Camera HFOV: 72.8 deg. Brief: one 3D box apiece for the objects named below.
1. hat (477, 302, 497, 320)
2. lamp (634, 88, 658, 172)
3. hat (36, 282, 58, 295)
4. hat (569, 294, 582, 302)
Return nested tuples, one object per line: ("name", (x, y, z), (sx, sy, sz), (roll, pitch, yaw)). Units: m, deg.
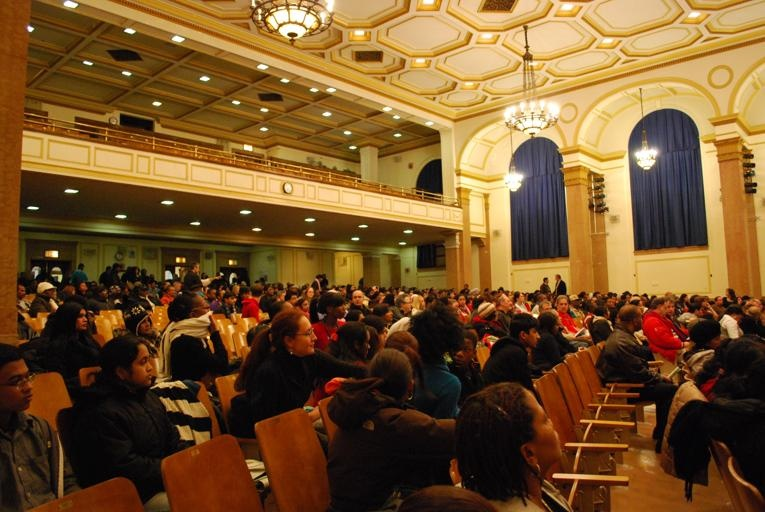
("hat", (1.473, 0.768, 7.294), (0.140, 0.191, 0.236), (33, -23, -9))
("lamp", (8.587, -4.080, 16.976), (0.720, 2.718, 2.055), (-6, -8, 28))
("hat", (-6.124, 0.560, 9.371), (0.376, 0.197, 0.257), (-4, -1, -17))
("hat", (5.145, 1.121, 13.795), (0.261, 0.127, 0.340), (0, -13, -22))
